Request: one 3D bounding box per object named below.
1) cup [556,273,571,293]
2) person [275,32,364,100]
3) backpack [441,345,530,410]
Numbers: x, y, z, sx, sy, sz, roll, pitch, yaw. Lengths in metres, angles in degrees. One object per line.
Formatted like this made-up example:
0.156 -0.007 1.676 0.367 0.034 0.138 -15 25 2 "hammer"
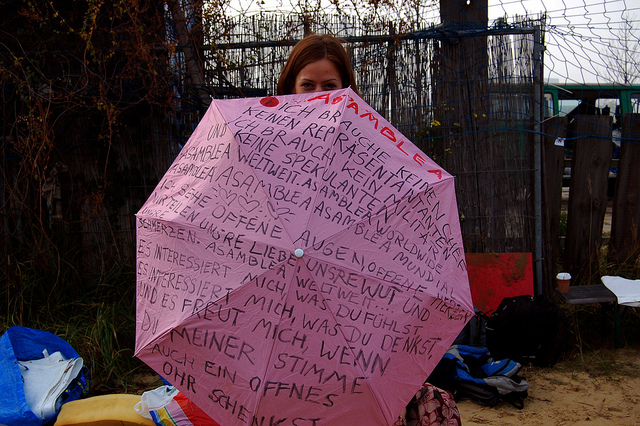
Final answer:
3.054 0.898 8.682 0.172 0.251 0.198 0 -5 5 "cup"
-0.042 -1.487 7.251 0.551 0.723 0.732 -2 3 -1 "person"
1.908 1.895 7.872 0.822 0.428 0.670 17 18 33 "backpack"
